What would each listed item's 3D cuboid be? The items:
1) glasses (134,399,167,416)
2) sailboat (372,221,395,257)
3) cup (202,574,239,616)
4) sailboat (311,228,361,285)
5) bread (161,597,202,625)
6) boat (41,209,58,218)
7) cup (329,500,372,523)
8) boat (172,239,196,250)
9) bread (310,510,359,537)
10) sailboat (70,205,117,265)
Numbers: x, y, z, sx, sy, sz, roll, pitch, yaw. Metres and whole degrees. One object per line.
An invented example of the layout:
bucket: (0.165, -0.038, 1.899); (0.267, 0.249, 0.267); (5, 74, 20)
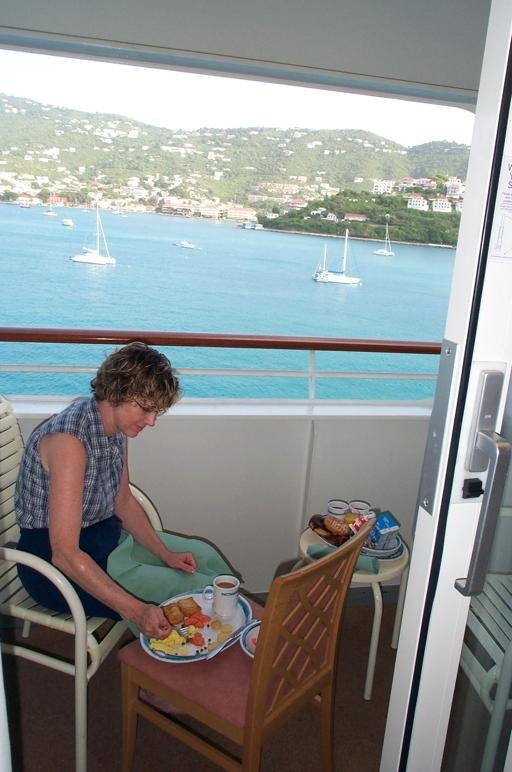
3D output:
glasses: (-0.274, 0.049, 1.368); (0.049, 0.016, 0.050); (17, 22, -48)
sailboat: (6.815, -7.618, 29.545); (0.919, 1.493, 0.874); (0, -1, -42)
cup: (-0.081, 0.472, 1.296); (0.090, 0.086, 0.059); (-5, 22, -14)
sailboat: (4.266, -6.870, 29.576); (3.277, 3.689, 1.079); (2, 33, 1)
bread: (-0.173, 0.498, 1.252); (0.049, 0.013, 0.046); (-9, 26, -32)
boat: (-10.789, -8.985, 29.015); (0.555, 0.309, 0.216); (-3, -2, -9)
cup: (0.298, 0.392, 1.767); (0.109, 0.105, 0.061); (5, 49, 3)
boat: (-4.030, -7.492, 29.595); (1.612, 0.437, 0.437); (5, 40, -3)
bread: (0.228, 0.412, 1.684); (0.095, 0.034, 0.068); (1, 3, 19)
sailboat: (-8.203, -7.672, 28.480); (1.526, 3.292, 1.993); (-1, -1, 16)
